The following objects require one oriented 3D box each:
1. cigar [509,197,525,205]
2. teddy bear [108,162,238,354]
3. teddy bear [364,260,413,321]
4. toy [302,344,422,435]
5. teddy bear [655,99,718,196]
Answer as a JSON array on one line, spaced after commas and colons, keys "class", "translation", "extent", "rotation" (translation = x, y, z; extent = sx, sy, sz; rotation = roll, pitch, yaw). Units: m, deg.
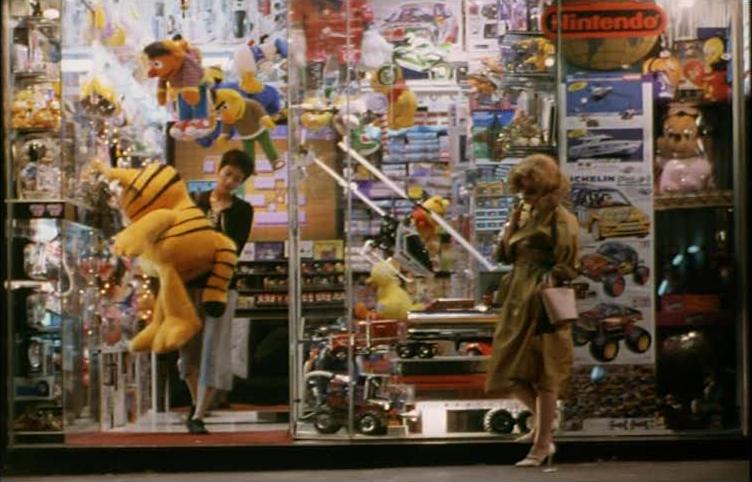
[{"class": "cigar", "translation": [1.003, -0.287, 11.048], "extent": [0.103, 0.044, 0.089], "rotation": [0, -15, 3]}, {"class": "teddy bear", "translation": [-1.423, 0.122, 11.066], "extent": [0.849, 1.299, 0.206], "rotation": [-1, 3, -9]}, {"class": "teddy bear", "translation": [0.099, 0.353, 11.093], "extent": [0.481, 0.402, 0.295], "rotation": [9, 9, 22]}, {"class": "toy", "translation": [-0.107, 1.115, 11.202], "extent": [0.800, 0.412, 0.497], "rotation": [-1, -3, -2]}, {"class": "teddy bear", "translation": [2.181, -0.647, 11.091], "extent": [0.356, 0.694, 0.299], "rotation": [0, -1, 8]}]
